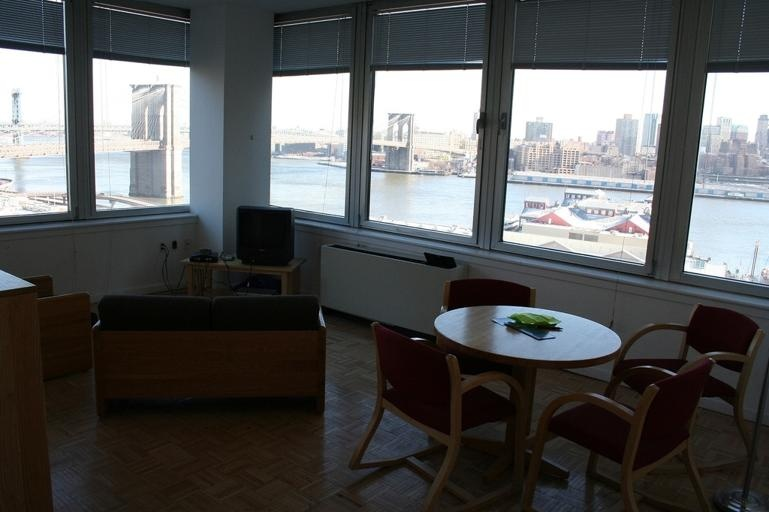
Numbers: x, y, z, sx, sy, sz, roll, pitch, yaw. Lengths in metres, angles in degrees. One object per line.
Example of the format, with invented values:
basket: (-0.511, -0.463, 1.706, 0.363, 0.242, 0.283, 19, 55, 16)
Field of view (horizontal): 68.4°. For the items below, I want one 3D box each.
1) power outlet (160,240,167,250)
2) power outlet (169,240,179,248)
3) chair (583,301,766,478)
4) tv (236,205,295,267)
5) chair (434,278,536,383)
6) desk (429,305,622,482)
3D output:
power outlet: (-2.908, -0.143, 7.422, 0.063, 0.080, 0.079, 5, -5, -16)
power outlet: (-2.812, -0.156, 7.527, 0.103, 0.125, 0.007, -8, 16, -37)
chair: (2.513, 0.982, 5.206, 1.501, 1.898, 1.232, 0, 3, -6)
tv: (-1.432, -0.233, 6.731, 0.647, 0.637, 0.357, 5, 15, 9)
chair: (0.875, 0.592, 4.810, 0.764, 1.068, 0.764, 1, 3, 0)
desk: (0.973, 1.095, 4.176, 1.218, 0.865, 1.224, 3, 0, 33)
